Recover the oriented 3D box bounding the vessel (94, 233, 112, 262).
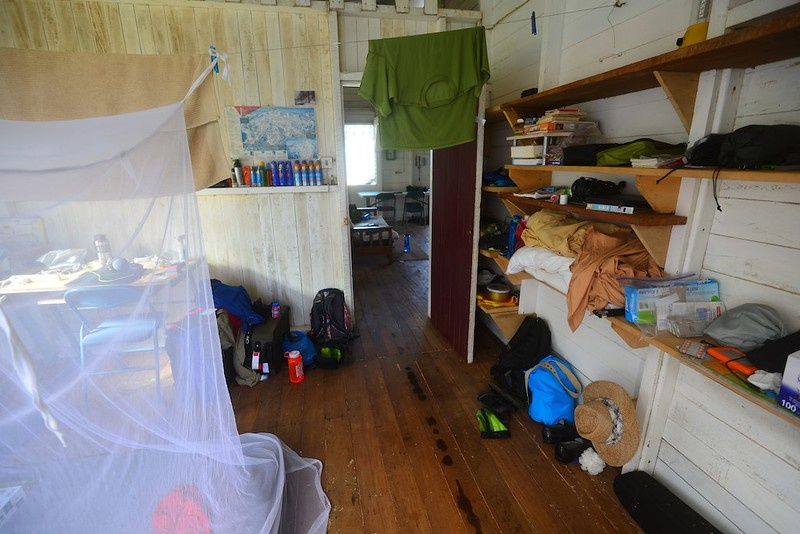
[{"bbox_3d":[-1.368,-0.083,2.286,0.060,0.125,0.047,-11,19,-24],"label":"vessel"}]

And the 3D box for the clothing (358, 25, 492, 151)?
[{"bbox_3d":[0.193,-1.298,3.542,1.095,0.869,0.277,-4,24,0],"label":"clothing"}]

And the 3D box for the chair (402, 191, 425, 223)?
[{"bbox_3d":[0.299,-1.241,10.089,0.487,0.721,1.097,-2,17,2],"label":"chair"}]

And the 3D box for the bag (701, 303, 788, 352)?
[{"bbox_3d":[1.652,0.260,2.388,0.236,0.088,0.240,-46,36,-14],"label":"bag"}]

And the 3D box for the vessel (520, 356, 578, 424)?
[{"bbox_3d":[1.040,0.856,3.477,0.329,0.463,0.353,-6,17,20],"label":"vessel"}]

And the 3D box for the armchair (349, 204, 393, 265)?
[{"bbox_3d":[-0.415,-0.434,6.952,0.423,0.519,1.238,-4,24,-8],"label":"armchair"}]

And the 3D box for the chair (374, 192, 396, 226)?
[{"bbox_3d":[-0.275,-1.119,9.702,0.473,0.685,0.532,-5,14,-20],"label":"chair"}]
